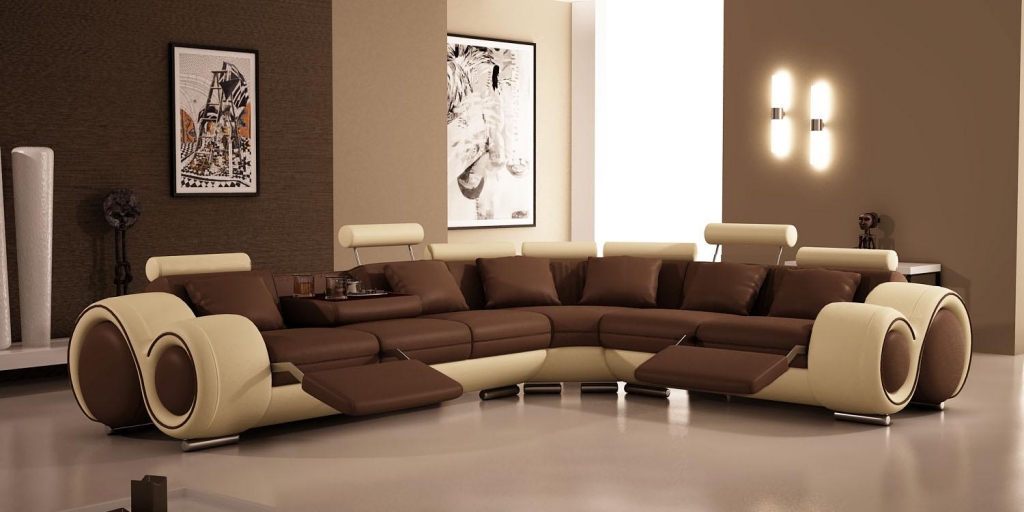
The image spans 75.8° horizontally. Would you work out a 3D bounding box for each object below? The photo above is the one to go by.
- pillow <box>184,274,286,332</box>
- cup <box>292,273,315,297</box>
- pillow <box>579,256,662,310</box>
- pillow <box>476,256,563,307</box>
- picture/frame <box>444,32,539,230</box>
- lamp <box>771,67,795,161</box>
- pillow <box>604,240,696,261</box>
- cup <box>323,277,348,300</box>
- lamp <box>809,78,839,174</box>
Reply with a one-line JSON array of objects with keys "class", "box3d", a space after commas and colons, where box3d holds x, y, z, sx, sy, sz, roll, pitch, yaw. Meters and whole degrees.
[{"class": "pillow", "box3d": [-2.571, 0.430, 6.086, 0.757, 0.513, 0.363, -6, 15, -23]}, {"class": "cup", "box3d": [-2.008, 0.294, 6.479, 0.235, 0.194, 0.227, -1, -1, 0]}, {"class": "pillow", "box3d": [1.221, 0.262, 7.281, 0.892, 0.548, 0.335, 2, 3, 34]}, {"class": "pillow", "box3d": [0.080, 0.228, 7.261, 0.826, 0.528, 0.230, -1, -18, -25]}, {"class": "picture/frame", "box3d": [-0.335, -1.981, 10.558, 1.744, 3.028, 0.572, -8, 17, -28]}, {"class": "lamp", "box3d": [3.593, -1.919, 8.842, 0.282, 1.193, 0.356, 1, 15, 7]}, {"class": "pillow", "box3d": [1.525, -0.074, 7.352, 1.033, 0.209, 0.223, 1, 14, 16]}, {"class": "cup", "box3d": [-1.695, 0.308, 6.473, 0.246, 0.176, 0.202, -4, 5, -43]}, {"class": "lamp", "box3d": [4.008, -1.714, 8.587, 0.258, 1.174, 0.378, 0, 15, 2]}]
